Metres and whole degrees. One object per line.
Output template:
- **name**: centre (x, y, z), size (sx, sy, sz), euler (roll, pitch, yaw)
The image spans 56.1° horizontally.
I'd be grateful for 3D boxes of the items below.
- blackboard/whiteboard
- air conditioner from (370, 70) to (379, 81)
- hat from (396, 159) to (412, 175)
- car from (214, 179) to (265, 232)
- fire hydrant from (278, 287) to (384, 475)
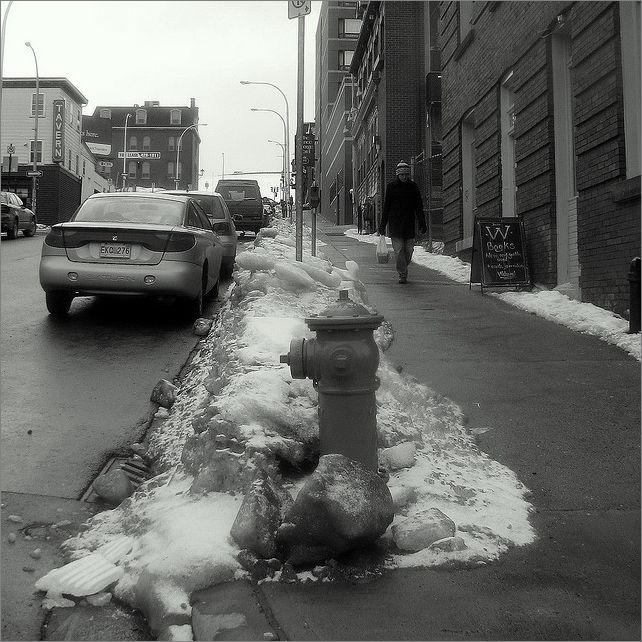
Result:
- **blackboard/whiteboard**: centre (3.126, -1.172, 10.453), size (1.053, 1.247, 0.507), euler (-2, 7, -8)
- **air conditioner**: centre (2.956, -13.491, 33.054), size (0.316, 0.707, 0.578), euler (-3, 9, -2)
- **hat**: centre (1.628, -3.024, 11.894), size (0.236, 0.258, 0.419), euler (-1, 10, 1)
- **car**: centre (-3.850, -5.674, 30.386), size (2.297, 3.348, 5.298), euler (0, 10, 0)
- **fire hydrant**: centre (0.069, 0.372, 2.989), size (0.460, 0.794, 0.221), euler (-2, 7, -7)
